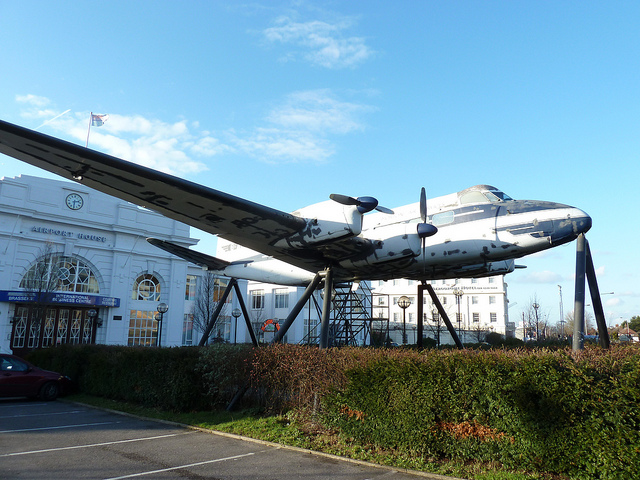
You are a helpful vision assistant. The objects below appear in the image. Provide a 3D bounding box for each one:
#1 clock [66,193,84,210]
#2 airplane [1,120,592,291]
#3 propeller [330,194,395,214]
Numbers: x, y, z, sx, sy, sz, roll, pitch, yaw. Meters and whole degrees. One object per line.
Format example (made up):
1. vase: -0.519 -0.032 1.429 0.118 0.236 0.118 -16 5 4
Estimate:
1. clock: -18.359 -2.815 37.630 0.130 1.369 1.612 -18 -10 34
2. airplane: -1.076 -0.472 19.722 18.294 5.134 9.539 -1 -4 -11
3. propeller: 1.483 -1.163 16.188 1.915 0.323 1.783 6 -6 35
